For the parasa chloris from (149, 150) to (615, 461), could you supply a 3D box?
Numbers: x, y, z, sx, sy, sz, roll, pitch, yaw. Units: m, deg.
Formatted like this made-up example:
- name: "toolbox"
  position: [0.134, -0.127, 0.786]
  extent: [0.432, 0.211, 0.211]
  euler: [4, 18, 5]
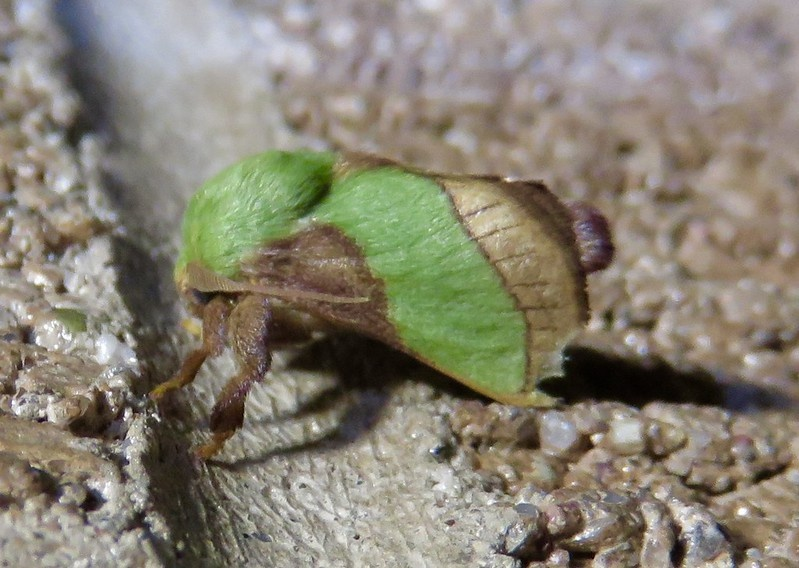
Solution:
- name: "parasa chloris"
  position: [-0.023, -0.048, 1.704]
  extent: [0.736, 0.410, 0.616]
  euler: [-3, 27, 13]
